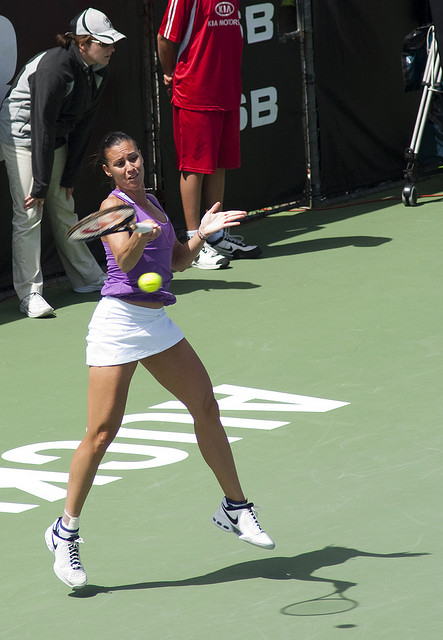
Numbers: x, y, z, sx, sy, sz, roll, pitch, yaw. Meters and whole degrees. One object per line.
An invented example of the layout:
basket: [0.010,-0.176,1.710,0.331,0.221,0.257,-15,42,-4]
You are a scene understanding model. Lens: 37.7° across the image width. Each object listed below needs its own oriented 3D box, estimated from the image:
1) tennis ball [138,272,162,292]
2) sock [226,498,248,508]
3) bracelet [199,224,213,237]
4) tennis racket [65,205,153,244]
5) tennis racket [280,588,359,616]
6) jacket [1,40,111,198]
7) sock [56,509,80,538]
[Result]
tennis ball: [-0.243,-0.127,2.215,0.088,0.059,0.066,-2,6,-9]
sock: [0.056,0.689,2.437,0.083,0.029,0.025,-2,8,12]
bracelet: [-0.060,-0.345,2.510,0.063,0.038,0.056,0,5,-4]
tennis racket: [-0.381,-0.311,2.096,0.135,0.107,0.397,-13,11,-40]
tennis racket: [0.303,0.892,2.007,0.223,0.020,0.135,-8,8,-21]
jacket: [-1.403,-1.696,5.620,0.712,1.261,0.736,3,13,45]
sock: [-0.518,0.696,2.190,0.052,0.087,0.131,15,26,-24]
